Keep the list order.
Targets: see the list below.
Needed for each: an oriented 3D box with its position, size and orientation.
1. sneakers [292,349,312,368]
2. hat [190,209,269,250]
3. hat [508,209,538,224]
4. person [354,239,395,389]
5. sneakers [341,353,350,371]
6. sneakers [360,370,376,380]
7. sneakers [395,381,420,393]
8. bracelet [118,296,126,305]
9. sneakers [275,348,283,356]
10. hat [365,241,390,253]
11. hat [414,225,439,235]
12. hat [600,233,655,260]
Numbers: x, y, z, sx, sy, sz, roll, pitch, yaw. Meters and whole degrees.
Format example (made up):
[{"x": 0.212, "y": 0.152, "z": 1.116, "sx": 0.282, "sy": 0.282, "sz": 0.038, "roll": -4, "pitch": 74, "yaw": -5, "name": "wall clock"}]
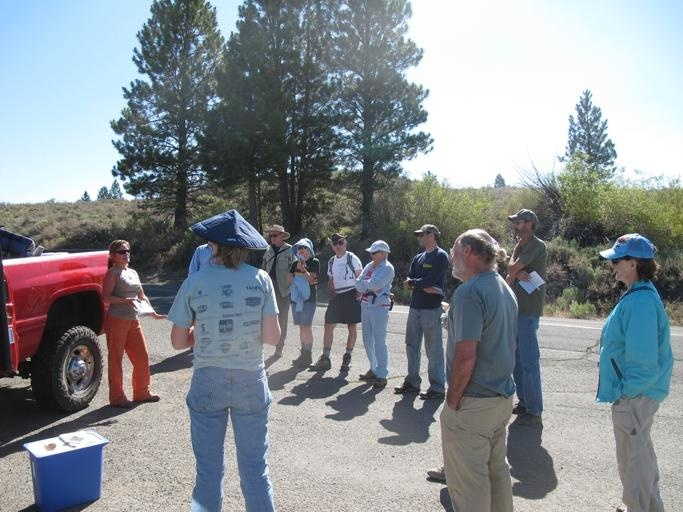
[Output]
[{"x": -0.632, "y": 1.758, "z": 9.502, "sx": 0.376, "sy": 0.331, "sz": 0.186, "roll": 4, "pitch": -2, "yaw": 16, "name": "sneakers"}, {"x": -1.024, "y": -0.286, "z": 5.096, "sx": 0.819, "sy": 0.354, "sz": 0.647, "roll": 10, "pitch": 3, "yaw": 38, "name": "hat"}, {"x": 2.400, "y": -0.544, "z": 7.275, "sx": 0.340, "sy": 0.187, "sz": 0.245, "roll": 3, "pitch": 0, "yaw": 2, "name": "hat"}, {"x": 0.508, "y": 0.872, "z": 8.601, "sx": 0.553, "sy": 2.251, "sz": 0.440, "roll": 1, "pitch": 1, "yaw": 35, "name": "person"}, {"x": 0.079, "y": 1.772, "z": 9.266, "sx": 0.159, "sy": 0.296, "sz": 0.275, "roll": 0, "pitch": 1, "yaw": -3, "name": "sneakers"}, {"x": 0.412, "y": 1.896, "z": 8.716, "sx": 0.276, "sy": 0.136, "sz": 0.107, "roll": 1, "pitch": 2, "yaw": 32, "name": "sneakers"}, {"x": 0.990, "y": 1.974, "z": 8.235, "sx": 0.359, "sy": 0.229, "sz": 0.155, "roll": 4, "pitch": -6, "yaw": 0, "name": "sneakers"}, {"x": -2.945, "y": 0.591, "z": 7.442, "sx": 0.125, "sy": 0.088, "sz": 0.085, "roll": -4, "pitch": -30, "yaw": -15, "name": "bracelet"}, {"x": -1.130, "y": 1.744, "z": 9.939, "sx": 0.130, "sy": 0.157, "sz": 0.082, "roll": 11, "pitch": -11, "yaw": -37, "name": "sneakers"}, {"x": 0.569, "y": -0.161, "z": 8.545, "sx": 0.296, "sy": 0.206, "sz": 0.238, "roll": 11, "pitch": -2, "yaw": -2, "name": "hat"}, {"x": 1.272, "y": -0.403, "z": 8.101, "sx": 0.297, "sy": 0.176, "sz": 0.239, "roll": 3, "pitch": -3, "yaw": 1, "name": "hat"}, {"x": 2.745, "y": -0.077, "z": 5.242, "sx": 0.361, "sy": 0.252, "sz": 0.271, "roll": -1, "pitch": -1, "yaw": 19, "name": "hat"}]
